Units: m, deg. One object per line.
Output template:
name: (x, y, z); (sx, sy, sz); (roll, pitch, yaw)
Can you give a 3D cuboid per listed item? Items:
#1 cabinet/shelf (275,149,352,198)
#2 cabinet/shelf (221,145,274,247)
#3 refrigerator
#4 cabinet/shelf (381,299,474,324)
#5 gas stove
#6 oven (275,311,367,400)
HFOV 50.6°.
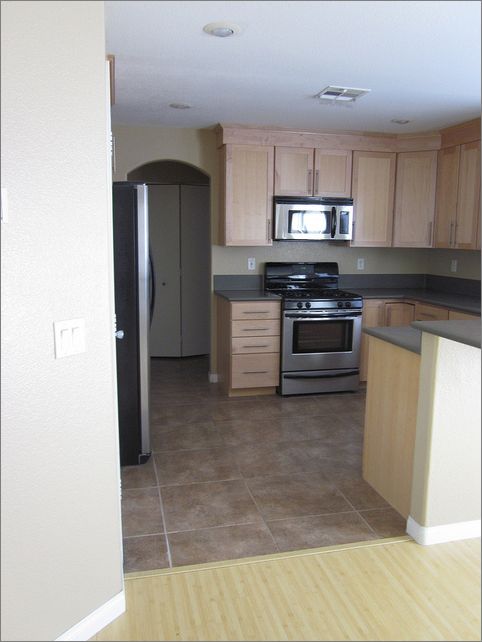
cabinet/shelf: (0.630, -1.302, 4.550); (0.678, 0.426, 0.234); (2, 3, -2)
cabinet/shelf: (0.042, -1.092, 4.462); (0.431, 0.844, 0.332); (1, 11, 1)
refrigerator: (-0.604, 0.050, 2.812); (0.204, 1.587, 0.081); (-3, 10, -15)
cabinet/shelf: (1.457, -0.013, 4.149); (0.235, 0.241, 0.838); (-3, 10, -13)
gas stove: (0.657, -0.241, 4.520); (0.762, 0.228, 0.631); (-2, 10, -11)
oven: (0.751, 0.305, 4.574); (0.748, 0.791, 0.707); (-6, -18, 27)
